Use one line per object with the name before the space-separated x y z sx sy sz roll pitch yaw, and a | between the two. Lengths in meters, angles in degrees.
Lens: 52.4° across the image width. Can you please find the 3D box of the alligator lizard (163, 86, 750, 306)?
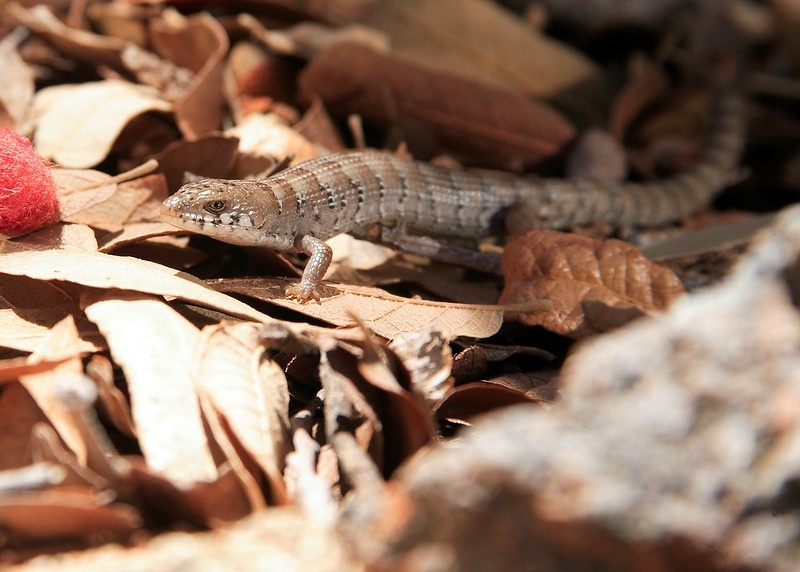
alligator lizard | 0.264 -0.197 1.828 1.469 0.227 0.439 -6 28 -32
